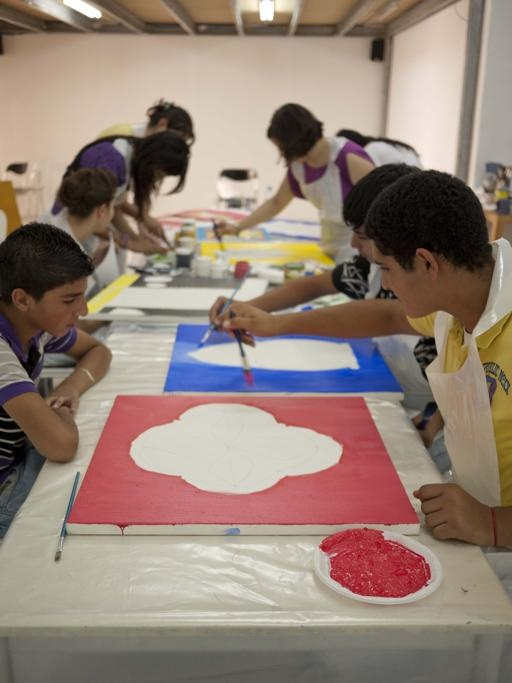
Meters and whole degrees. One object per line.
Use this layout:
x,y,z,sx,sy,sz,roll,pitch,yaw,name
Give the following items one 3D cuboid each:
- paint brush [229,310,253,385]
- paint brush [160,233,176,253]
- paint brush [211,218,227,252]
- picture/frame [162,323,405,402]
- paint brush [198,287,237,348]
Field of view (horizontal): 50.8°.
-0.034,0.032,1.553,0.031,0.038,0.260,10,33,-22,paint brush
-0.518,-0.570,3.233,0.058,0.134,0.081,-23,-25,-2,paint brush
-0.221,-0.645,3.365,0.072,0.238,0.138,12,-34,-28,paint brush
0.046,0.048,1.689,0.659,0.032,0.684,-1,16,-8,picture/frame
-0.133,-0.075,1.869,0.032,0.275,0.025,26,-19,18,paint brush
